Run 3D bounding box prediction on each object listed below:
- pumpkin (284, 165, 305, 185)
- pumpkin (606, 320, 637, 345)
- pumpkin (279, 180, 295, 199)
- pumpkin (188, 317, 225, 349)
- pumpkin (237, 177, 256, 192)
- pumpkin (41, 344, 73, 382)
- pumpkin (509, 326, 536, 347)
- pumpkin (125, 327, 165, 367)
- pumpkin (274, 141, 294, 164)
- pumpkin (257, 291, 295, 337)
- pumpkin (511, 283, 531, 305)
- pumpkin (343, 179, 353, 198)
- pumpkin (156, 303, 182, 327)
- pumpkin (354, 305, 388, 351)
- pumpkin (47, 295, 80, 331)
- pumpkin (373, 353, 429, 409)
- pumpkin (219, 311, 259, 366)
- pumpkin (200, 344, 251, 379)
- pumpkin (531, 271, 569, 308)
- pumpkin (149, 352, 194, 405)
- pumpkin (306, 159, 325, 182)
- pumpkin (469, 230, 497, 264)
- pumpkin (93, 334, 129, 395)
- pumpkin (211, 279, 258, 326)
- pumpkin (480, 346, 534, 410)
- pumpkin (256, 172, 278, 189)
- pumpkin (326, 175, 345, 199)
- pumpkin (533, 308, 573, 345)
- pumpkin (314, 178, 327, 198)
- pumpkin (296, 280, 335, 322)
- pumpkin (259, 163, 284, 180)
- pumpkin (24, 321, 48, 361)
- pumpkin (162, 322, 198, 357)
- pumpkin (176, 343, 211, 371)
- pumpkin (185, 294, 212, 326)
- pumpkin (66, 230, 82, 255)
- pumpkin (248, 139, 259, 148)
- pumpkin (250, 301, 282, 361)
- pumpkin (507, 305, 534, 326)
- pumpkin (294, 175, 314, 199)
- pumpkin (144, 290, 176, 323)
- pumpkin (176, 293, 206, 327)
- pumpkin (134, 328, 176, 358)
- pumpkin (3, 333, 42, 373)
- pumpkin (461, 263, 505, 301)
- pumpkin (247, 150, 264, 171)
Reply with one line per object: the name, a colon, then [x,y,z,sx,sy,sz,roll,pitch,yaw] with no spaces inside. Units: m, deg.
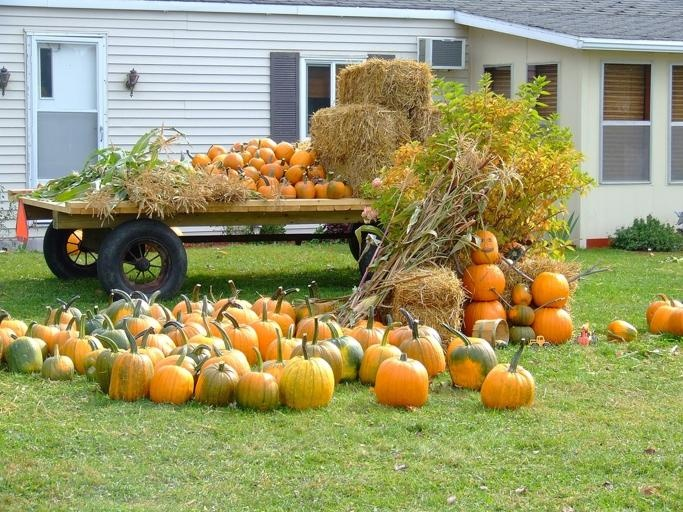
pumpkin: [-0.501,-0.881,13.124,0.176,0.249,0.195,21,-25,9]
pumpkin: [2.561,0.673,10.762,0.204,0.196,0.168,5,16,25]
pumpkin: [-0.576,-0.699,12.630,0.143,0.248,0.168,0,-4,1]
pumpkin: [-1.124,0.651,9.911,0.218,0.357,0.235,3,-3,-23]
pumpkin: [-0.971,-0.732,12.415,0.168,0.145,0.136,44,-23,-18]
pumpkin: [-2.358,0.879,9.877,0.237,0.382,0.259,2,-12,-28]
pumpkin: [1.645,0.706,10.702,0.191,0.221,0.214,1,4,-4]
pumpkin: [-1.585,0.752,9.667,0.268,0.429,0.286,-2,-1,19]
pumpkin: [-0.645,-1.167,13.530,0.192,0.279,0.219,5,7,2]
pumpkin: [-0.639,0.518,10.601,0.301,0.505,0.331,6,-1,-16]
pumpkin: [1.649,0.354,10.828,0.153,0.222,0.163,-1,13,13]
pumpkin: [0.087,-0.721,12.919,0.131,0.226,0.147,-2,-1,2]
pumpkin: [-1.507,0.519,10.267,0.172,0.296,0.191,-12,4,-5]
pumpkin: [0.256,0.621,10.166,0.280,0.473,0.294,1,-1,44]
pumpkin: [-2.499,0.527,10.654,0.173,0.283,0.175,19,2,-1]
pumpkin: [0.488,0.977,9.417,0.352,0.423,0.384,1,-3,-11]
pumpkin: [-0.866,0.715,9.982,0.253,0.427,0.261,-20,-4,-1]
pumpkin: [-0.909,0.851,9.580,0.245,0.295,0.271,-15,4,-8]
pumpkin: [1.910,0.319,10.775,0.262,0.334,0.312,0,-6,4]
pumpkin: [-1.342,1.003,9.560,0.296,0.481,0.291,18,-13,-38]
pumpkin: [-0.272,-0.930,13.114,0.170,0.290,0.191,-2,-8,-7]
pumpkin: [1.313,-0.071,10.769,0.227,0.336,0.258,0,-5,-3]
pumpkin: [-1.903,0.873,9.577,0.315,0.640,0.362,1,-6,-4]
pumpkin: [-0.945,0.433,10.618,0.329,0.554,0.370,-1,-5,8]
pumpkin: [1.334,0.932,9.405,0.431,0.545,0.295,3,3,10]
pumpkin: [-0.791,-0.802,12.804,0.151,0.177,0.162,0,3,-18]
pumpkin: [-0.051,-0.740,12.777,0.160,0.230,0.183,-2,-23,14]
pumpkin: [1.941,0.613,10.817,0.287,0.320,0.298,7,4,40]
pumpkin: [-0.211,-0.715,12.871,0.135,0.206,0.150,1,-7,4]
pumpkin: [-0.278,0.424,10.757,0.304,0.484,0.314,-3,0,29]
pumpkin: [-0.758,-0.935,13.071,0.178,0.217,0.186,-7,-8,38]
pumpkin: [-2.597,0.719,10.081,0.228,0.382,0.258,-2,-5,-19]
pumpkin: [-1.355,0.682,9.891,0.252,0.402,0.259,1,-4,-39]
pumpkin: [-1.190,0.814,9.621,0.193,0.207,0.214,25,27,-14]
pumpkin: [-1.234,0.477,10.366,0.205,0.372,0.244,2,-2,16]
pumpkin: [-3.080,-0.161,13.614,0.068,0.293,0.256,7,7,26]
pumpkin: [-1.017,-1.308,13.902,0.119,0.154,0.152,-6,5,-25]
pumpkin: [-0.652,0.660,10.235,0.347,0.631,0.382,0,-3,-4]
pumpkin: [1.644,0.545,10.756,0.165,0.196,0.185,2,4,-3]
pumpkin: [-0.398,-0.727,12.807,0.167,0.253,0.181,0,-4,3]
pumpkin: [-1.554,0.461,10.493,0.249,0.396,0.280,0,0,-31]
pumpkin: [-1.330,0.479,10.532,0.218,0.365,0.237,2,-3,-21]
pumpkin: [-1.533,0.722,9.836,0.240,0.288,0.244,1,1,-40]
pumpkin: [-2.667,0.831,9.916,0.267,0.380,0.277,-15,-10,-20]
pumpkin: [1.288,0.237,10.720,0.285,0.340,0.320,1,2,17]
pumpkin: [-0.957,-1.056,13.329,0.140,0.240,0.157,4,-7,-3]
